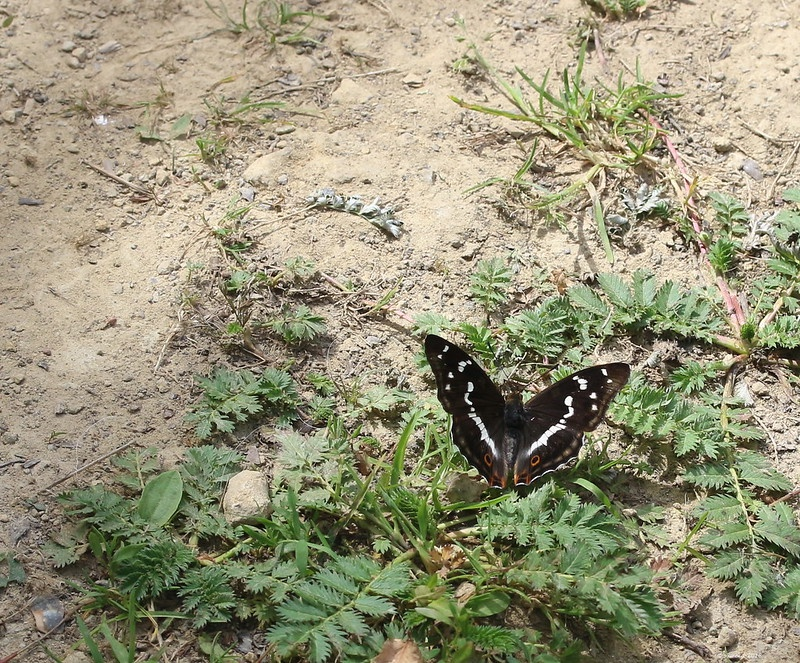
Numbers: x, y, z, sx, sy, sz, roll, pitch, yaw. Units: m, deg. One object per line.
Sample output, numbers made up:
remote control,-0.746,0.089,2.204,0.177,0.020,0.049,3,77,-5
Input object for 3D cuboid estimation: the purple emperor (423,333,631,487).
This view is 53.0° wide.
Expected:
purple emperor,0.453,0.344,3.136,0.789,0.373,0.506,7,59,12
